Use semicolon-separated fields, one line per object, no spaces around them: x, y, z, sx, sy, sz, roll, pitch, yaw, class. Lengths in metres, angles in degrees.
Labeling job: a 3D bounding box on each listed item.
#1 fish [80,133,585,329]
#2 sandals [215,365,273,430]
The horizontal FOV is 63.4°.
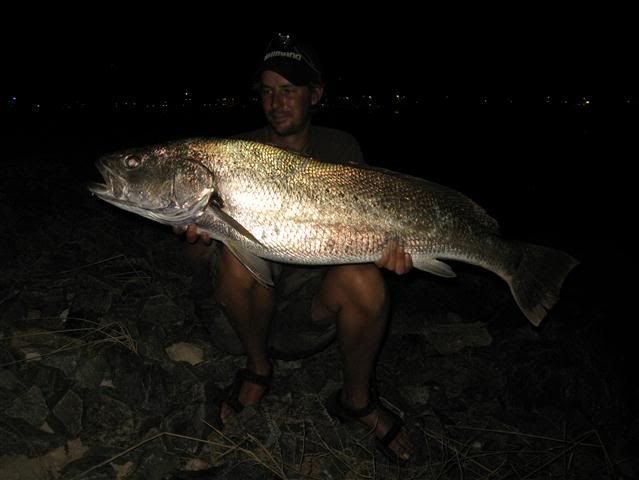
0.011;-0.138;4.763;4.251;1.247;0.555;8;27;0;fish
-0.712;1.513;5.082;0.249;0.200;0.693;38;66;12;sandals
